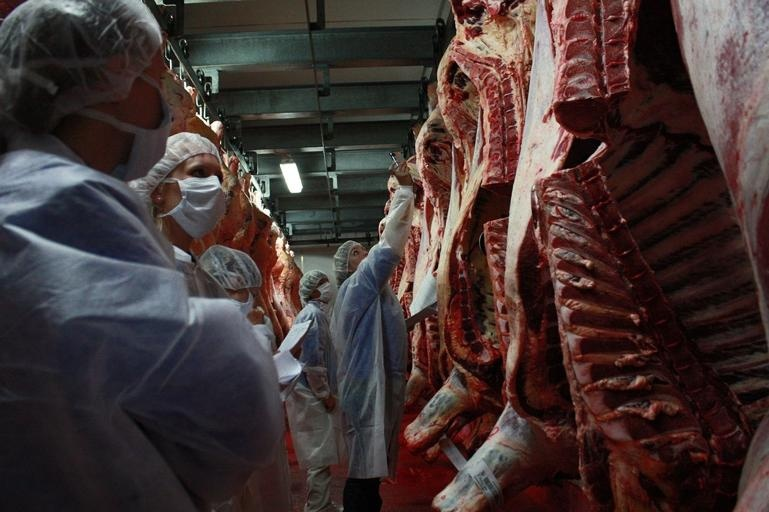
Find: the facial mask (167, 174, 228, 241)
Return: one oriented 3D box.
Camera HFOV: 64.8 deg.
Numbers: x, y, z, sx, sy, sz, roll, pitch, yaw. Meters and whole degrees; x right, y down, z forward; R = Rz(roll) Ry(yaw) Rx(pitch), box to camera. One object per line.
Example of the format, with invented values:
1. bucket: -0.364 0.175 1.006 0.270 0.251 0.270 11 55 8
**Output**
1. facial mask: -0.654 -0.182 2.146 0.193 0.190 0.179 -10 -12 8
